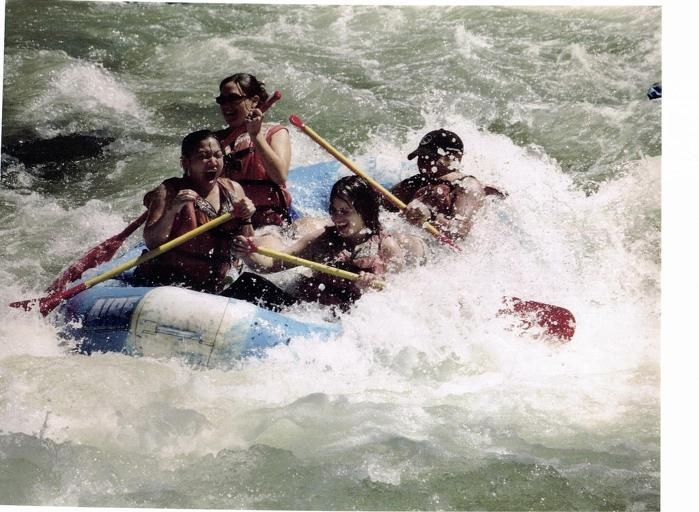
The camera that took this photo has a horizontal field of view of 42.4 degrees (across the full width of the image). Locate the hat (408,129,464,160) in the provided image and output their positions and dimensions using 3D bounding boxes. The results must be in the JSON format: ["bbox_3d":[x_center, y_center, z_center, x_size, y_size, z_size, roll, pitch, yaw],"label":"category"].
[{"bbox_3d":[0.520,-0.640,5.192,0.229,0.150,0.118,2,95,-2],"label":"hat"}]

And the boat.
[{"bbox_3d":[-0.627,0.101,4.871,1.575,0.289,0.881,-26,58,-24],"label":"boat"}]

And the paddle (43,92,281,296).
[{"bbox_3d":[-1.051,-0.303,5.114,1.637,0.167,0.133,-41,36,-13],"label":"paddle"}]

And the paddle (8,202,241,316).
[{"bbox_3d":[-1.244,0.056,4.912,0.381,1.777,0.088,-29,93,-36],"label":"paddle"}]
